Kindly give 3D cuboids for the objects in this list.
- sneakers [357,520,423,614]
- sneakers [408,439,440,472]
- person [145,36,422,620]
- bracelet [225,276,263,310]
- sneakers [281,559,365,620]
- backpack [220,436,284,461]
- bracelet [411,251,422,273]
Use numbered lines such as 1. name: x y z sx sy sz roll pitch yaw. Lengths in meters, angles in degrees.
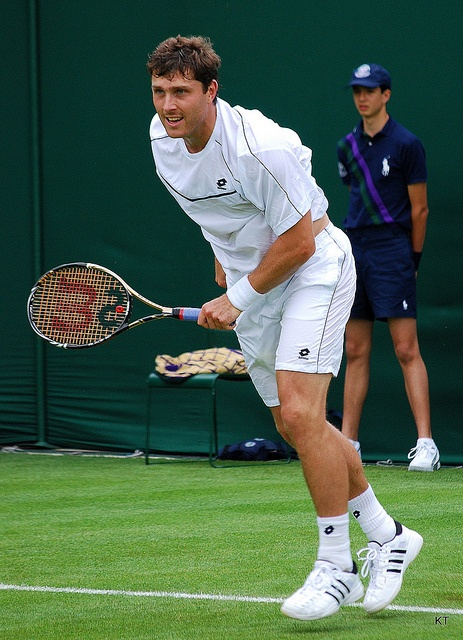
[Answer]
1. sneakers: 0.407 0.666 2.227 0.090 0.116 0.274 -21 26 46
2. sneakers: 1.038 0.721 4.550 0.114 0.116 0.248 -1 -4 15
3. person: 0.077 0.008 2.251 0.657 1.011 0.558 -2 2 34
4. bracelet: 0.032 -0.071 2.208 0.069 0.072 0.091 -38 -2 -7
5. sneakers: 0.224 0.650 2.050 0.085 0.103 0.242 1 8 34
6. backpack: 0.157 0.757 5.109 0.240 0.068 0.179 2 -1 -39
7. bracelet: 0.996 -0.322 4.526 0.082 0.076 0.100 0 -33 2
